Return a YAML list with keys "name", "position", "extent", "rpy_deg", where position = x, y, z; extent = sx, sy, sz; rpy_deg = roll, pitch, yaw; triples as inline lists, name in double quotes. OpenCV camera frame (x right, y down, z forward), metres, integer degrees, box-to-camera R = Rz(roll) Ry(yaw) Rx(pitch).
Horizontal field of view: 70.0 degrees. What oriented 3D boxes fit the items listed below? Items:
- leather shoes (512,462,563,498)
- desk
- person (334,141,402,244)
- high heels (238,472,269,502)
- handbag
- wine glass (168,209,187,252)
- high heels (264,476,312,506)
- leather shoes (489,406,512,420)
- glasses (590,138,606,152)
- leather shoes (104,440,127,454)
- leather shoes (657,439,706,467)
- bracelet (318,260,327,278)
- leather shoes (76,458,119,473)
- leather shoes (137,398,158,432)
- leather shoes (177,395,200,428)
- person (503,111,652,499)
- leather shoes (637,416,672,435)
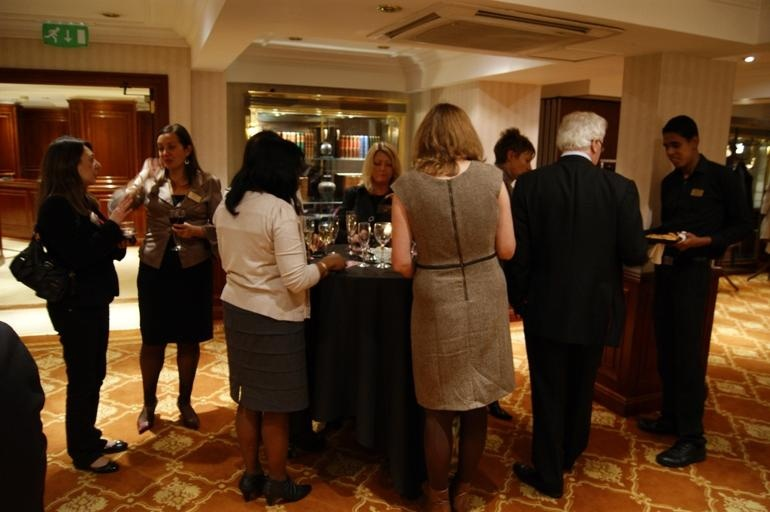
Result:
- name: "leather shoes"
  position: [1.100, 1.634, 4.058]
  extent: [0.141, 0.142, 0.376]
  rpy_deg: [-16, 35, -36]
- name: "desk"
  position: [-0.255, 0.997, 4.166]
  extent: [1.136, 1.534, 1.111]
  rpy_deg: [1, -18, -8]
- name: "person"
  position: [-0.077, -0.473, 5.031]
  extent: [0.647, 1.101, 0.610]
  rpy_deg: [1, 12, 0]
- name: "high heels"
  position: [-0.920, 1.608, 3.916]
  extent: [0.118, 0.166, 0.327]
  rpy_deg: [1, 7, 2]
- name: "handbag"
  position: [-2.390, 0.102, 3.812]
  extent: [0.411, 0.437, 0.185]
  rpy_deg: [6, 12, 20]
- name: "wine glass"
  position: [-1.608, -0.189, 4.240]
  extent: [0.115, 0.349, 0.203]
  rpy_deg: [-4, 13, -24]
- name: "high heels"
  position: [-0.674, 1.624, 3.901]
  extent: [0.380, 0.190, 0.134]
  rpy_deg: [-3, 4, -29]
- name: "leather shoes"
  position: [0.997, 1.373, 4.779]
  extent: [0.213, 0.152, 0.087]
  rpy_deg: [-2, 8, 23]
- name: "glasses"
  position: [1.489, -0.769, 3.843]
  extent: [0.027, 0.095, 0.093]
  rpy_deg: [6, 9, 5]
- name: "leather shoes"
  position: [-2.071, 1.477, 4.252]
  extent: [0.149, 0.054, 0.086]
  rpy_deg: [-2, 16, -2]
- name: "leather shoes"
  position: [2.312, 1.516, 4.331]
  extent: [0.447, 0.200, 0.165]
  rpy_deg: [-1, 6, -16]
- name: "bracelet"
  position: [-0.418, 0.097, 3.728]
  extent: [0.036, 0.096, 0.071]
  rpy_deg: [-6, 2, -31]
- name: "leather shoes"
  position: [-2.124, 1.549, 4.067]
  extent: [0.259, 0.057, 0.134]
  rpy_deg: [3, 8, 13]
- name: "leather shoes"
  position: [-1.952, 1.333, 4.540]
  extent: [0.095, 0.114, 0.289]
  rpy_deg: [3, 15, -9]
- name: "leather shoes"
  position: [-1.647, 1.308, 4.624]
  extent: [0.114, 0.163, 0.367]
  rpy_deg: [0, 10, -36]
- name: "person"
  position: [1.310, 0.343, 3.957]
  extent: [0.805, 2.693, 0.558]
  rpy_deg: [-3, 12, -21]
- name: "leather shoes"
  position: [2.304, 1.438, 4.676]
  extent: [0.281, 0.122, 0.116]
  rpy_deg: [14, 19, 25]
